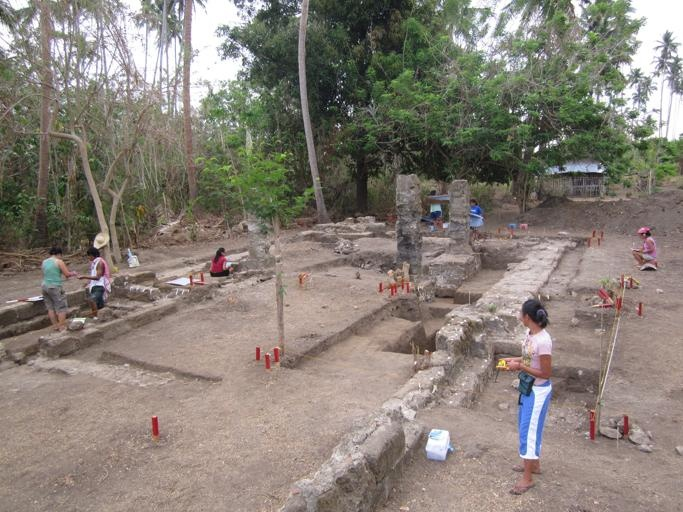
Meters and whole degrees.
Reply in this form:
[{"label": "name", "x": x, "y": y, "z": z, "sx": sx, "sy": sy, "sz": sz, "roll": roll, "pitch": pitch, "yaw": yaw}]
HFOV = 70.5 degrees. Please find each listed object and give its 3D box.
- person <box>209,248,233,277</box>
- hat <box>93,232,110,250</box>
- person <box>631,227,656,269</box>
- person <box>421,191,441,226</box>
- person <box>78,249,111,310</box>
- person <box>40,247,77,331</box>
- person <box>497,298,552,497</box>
[{"label": "person", "x": -3.526, "y": 0.192, "z": 14.092, "sx": 0.716, "sy": 0.962, "sz": 0.615, "roll": 6, "pitch": 13, "yaw": 3}, {"label": "hat", "x": -6.690, "y": -0.429, "z": 13.472, "sx": 0.387, "sy": 0.465, "sz": 0.633, "roll": -10, "pitch": 8, "yaw": -28}, {"label": "person", "x": 7.739, "y": -0.188, "z": 12.333, "sx": 0.561, "sy": 1.070, "sz": 0.610, "roll": -2, "pitch": 5, "yaw": 37}, {"label": "person", "x": 4.250, "y": -2.232, "z": 22.888, "sx": 0.858, "sy": 1.279, "sz": 3.898, "roll": -4, "pitch": 8, "yaw": 10}, {"label": "person", "x": -5.463, "y": 0.496, "z": 10.691, "sx": 0.567, "sy": 1.409, "sz": 1.688, "roll": -10, "pitch": 9, "yaw": -29}, {"label": "person", "x": -5.756, "y": 0.656, "z": 9.820, "sx": 0.532, "sy": 1.713, "sz": 1.011, "roll": -12, "pitch": 10, "yaw": -39}, {"label": "person", "x": 2.072, "y": 1.495, "z": 5.395, "sx": 0.477, "sy": 1.988, "sz": 0.840, "roll": -1, "pitch": 9, "yaw": 29}]
